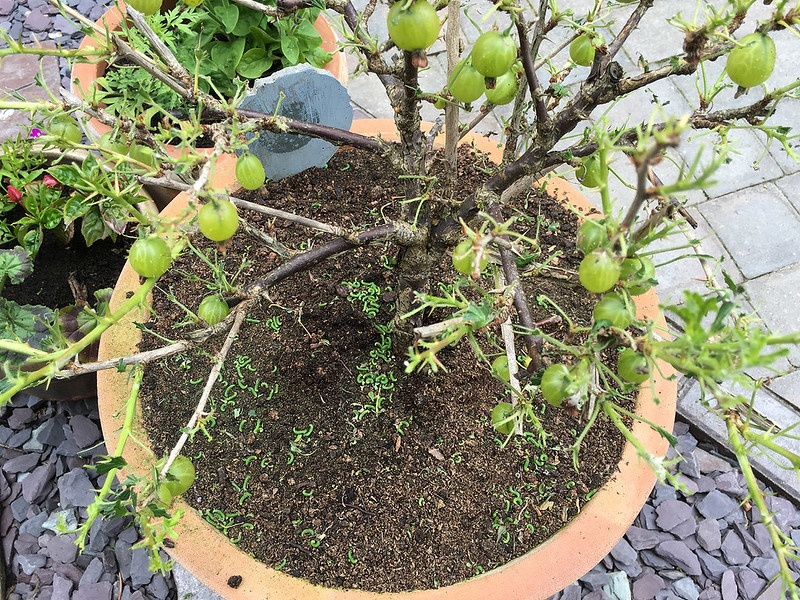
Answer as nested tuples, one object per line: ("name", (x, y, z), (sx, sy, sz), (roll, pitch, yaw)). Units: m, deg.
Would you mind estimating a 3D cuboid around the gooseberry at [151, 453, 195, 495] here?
("gooseberry", (-0.567, 0.455, 1.696), (0.071, 0.075, 0.083), (-9, -64, -29))
